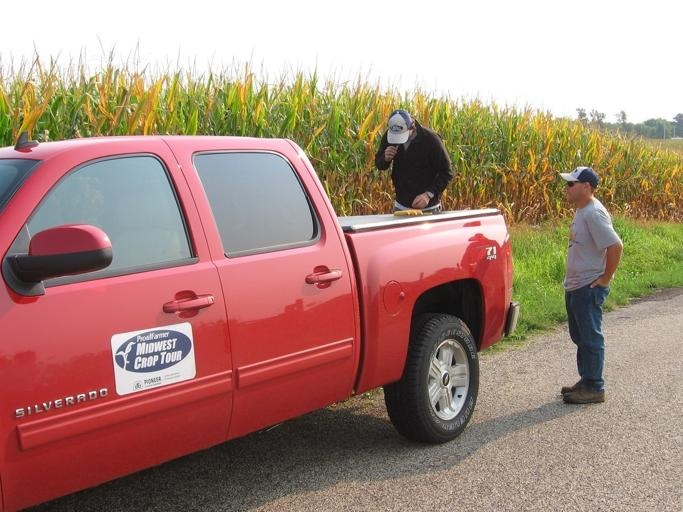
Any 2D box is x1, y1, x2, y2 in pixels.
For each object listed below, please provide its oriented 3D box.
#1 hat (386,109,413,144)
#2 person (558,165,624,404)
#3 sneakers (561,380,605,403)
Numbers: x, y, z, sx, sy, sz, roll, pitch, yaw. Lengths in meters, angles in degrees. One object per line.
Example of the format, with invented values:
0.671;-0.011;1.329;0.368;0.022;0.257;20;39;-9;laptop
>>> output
0.711;-1.592;6.382;0.249;0.456;0.229;5;-13;17;hat
2.340;0.259;4.810;0.513;2.189;0.545;1;7;22;person
2.264;1.290;4.790;0.210;0.121;0.279;4;-4;1;sneakers
